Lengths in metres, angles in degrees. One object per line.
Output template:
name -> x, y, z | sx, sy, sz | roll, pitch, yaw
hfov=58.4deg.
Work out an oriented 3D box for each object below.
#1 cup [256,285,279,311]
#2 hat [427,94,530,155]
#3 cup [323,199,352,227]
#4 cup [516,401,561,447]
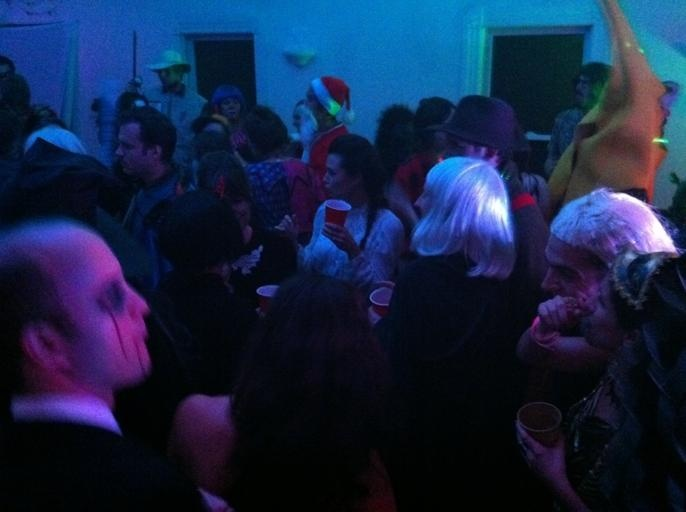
cup -> -0.328, 0.183, 2.660 | 0.105, 0.088, 0.110 | 5, 17, -1
hat -> 0.879, -0.819, 3.835 | 0.551, 0.360, 0.360 | 8, 11, 16
cup -> -0.028, -0.206, 3.203 | 0.121, 0.102, 0.124 | 13, 24, -6
cup -> 0.714, 0.612, 2.286 | 0.121, 0.128, 0.166 | -10, 20, -17
